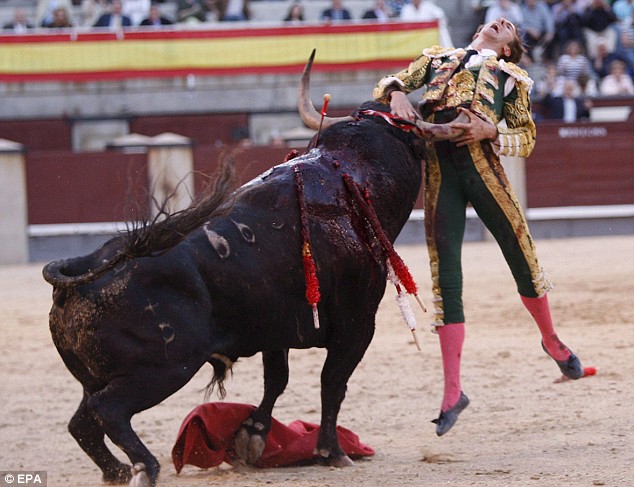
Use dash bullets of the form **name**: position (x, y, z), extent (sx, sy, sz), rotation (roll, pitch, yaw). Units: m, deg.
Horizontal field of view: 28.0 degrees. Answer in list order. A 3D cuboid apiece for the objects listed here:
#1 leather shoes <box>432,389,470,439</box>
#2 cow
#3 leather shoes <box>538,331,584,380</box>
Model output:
- **leather shoes**: position (0.545, 0.704, 5.234), extent (0.091, 0.075, 0.255), rotation (-2, 40, 51)
- **cow**: position (-0.380, -0.057, 5.776), extent (0.928, 1.905, 2.428), rotation (14, 22, 43)
- **leather shoes**: position (1.079, 0.513, 5.475), extent (0.091, 0.273, 0.109), rotation (-37, -10, -6)
